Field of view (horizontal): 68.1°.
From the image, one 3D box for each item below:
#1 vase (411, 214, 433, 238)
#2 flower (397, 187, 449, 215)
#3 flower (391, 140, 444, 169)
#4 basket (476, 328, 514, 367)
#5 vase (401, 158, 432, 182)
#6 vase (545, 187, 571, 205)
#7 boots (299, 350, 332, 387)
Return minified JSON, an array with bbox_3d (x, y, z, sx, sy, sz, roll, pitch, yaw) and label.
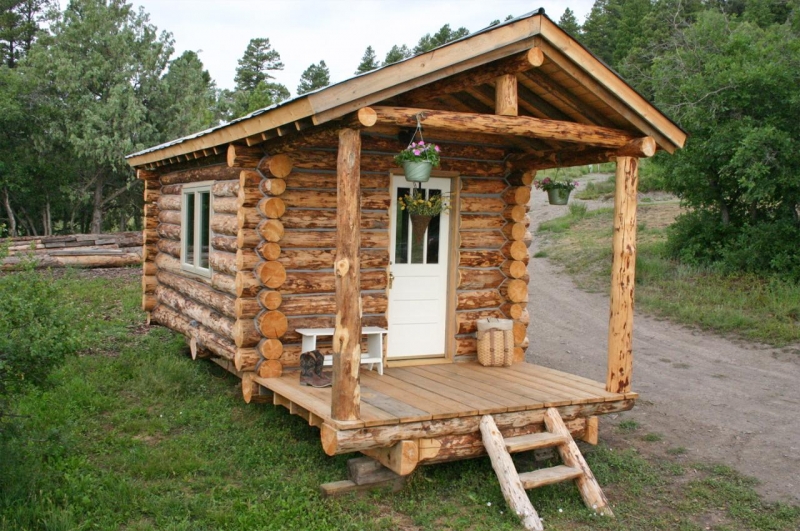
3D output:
[{"bbox_3d":[0.322,-0.659,9.399,0.307,0.383,0.335,3,14,1],"label":"vase"},{"bbox_3d":[0.364,-0.999,9.465,0.630,0.304,0.563,0,1,3],"label":"flower"},{"bbox_3d":[0.233,-1.445,7.736,0.504,0.260,0.427,-1,10,-6],"label":"flower"},{"bbox_3d":[1.494,1.368,9.843,0.807,0.656,0.437,7,-13,-36],"label":"basket"},{"bbox_3d":[0.223,-1.253,7.708,0.327,0.163,0.290,0,-2,-1],"label":"vase"},{"bbox_3d":[2.662,-1.182,9.968,0.388,0.199,0.346,0,-2,1],"label":"vase"},{"bbox_3d":[-1.221,1.477,8.483,0.418,0.431,0.373,0,15,-12],"label":"boots"}]
